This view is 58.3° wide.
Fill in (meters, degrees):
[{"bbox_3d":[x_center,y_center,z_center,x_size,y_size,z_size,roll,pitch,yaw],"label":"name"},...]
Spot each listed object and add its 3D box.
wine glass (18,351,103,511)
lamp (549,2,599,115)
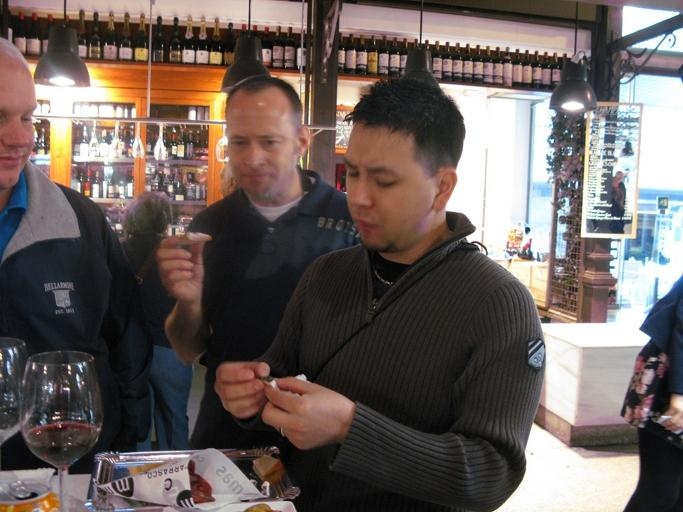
[{"bbox_3d":[-0.759,0.427,1.650,0.194,0.270,0.126,-2,9,-29],"label":"wine glass"},{"bbox_3d":[1.872,-1.400,4.885,0.327,0.461,0.393,8,9,33],"label":"lamp"}]
